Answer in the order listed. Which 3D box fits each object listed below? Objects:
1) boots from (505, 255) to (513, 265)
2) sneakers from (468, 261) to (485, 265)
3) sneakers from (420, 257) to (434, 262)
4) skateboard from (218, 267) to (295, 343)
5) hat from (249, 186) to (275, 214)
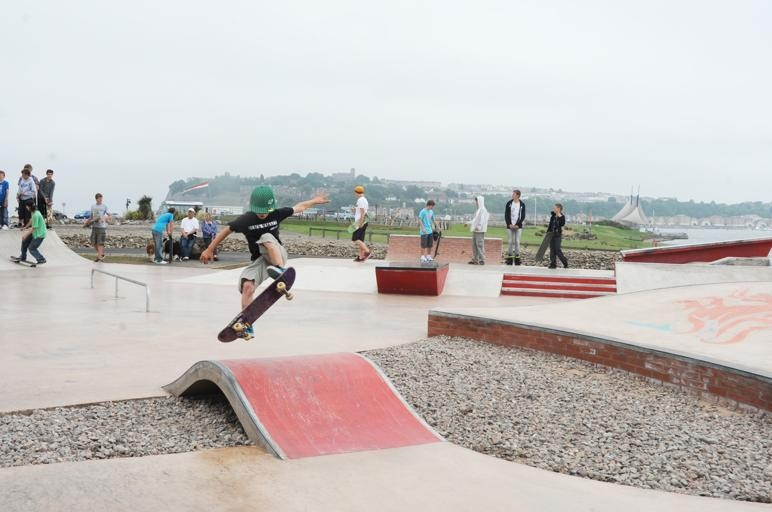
[{"bbox_3d":[3.556,0.100,18.000,0.237,0.263,0.235,0,14,1],"label":"boots"},{"bbox_3d":[2.612,0.194,18.320,0.137,0.162,0.404,-1,1,-45],"label":"sneakers"},{"bbox_3d":[1.054,0.087,16.466,0.350,0.147,0.118,0,7,-1],"label":"sneakers"},{"bbox_3d":[-2.082,0.834,9.943,1.449,0.373,0.209,-44,35,-20],"label":"skateboard"},{"bbox_3d":[-1.788,-0.821,8.815,0.358,0.403,0.461,-1,5,-13],"label":"hat"}]
